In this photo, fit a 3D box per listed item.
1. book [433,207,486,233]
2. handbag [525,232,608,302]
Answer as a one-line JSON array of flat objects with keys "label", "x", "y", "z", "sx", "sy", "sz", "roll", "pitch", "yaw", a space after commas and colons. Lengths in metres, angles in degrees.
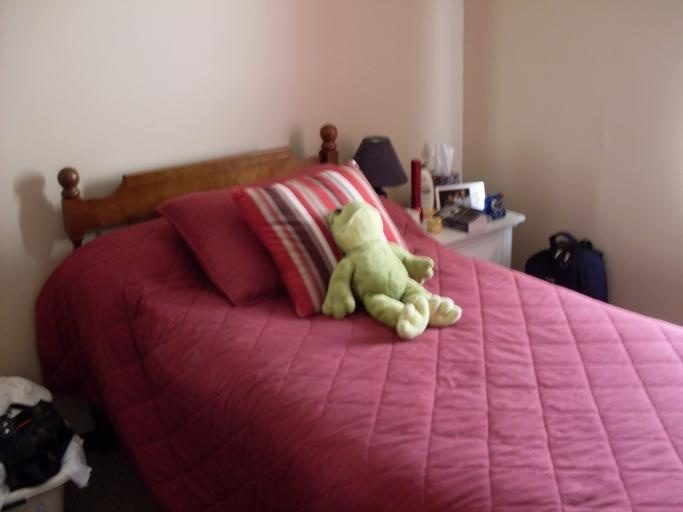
[{"label": "book", "x": 0.679, "y": -0.226, "z": 2.795, "sx": 0.150, "sy": 0.077, "sz": 0.211, "roll": -31, "pitch": 40, "yaw": -33}, {"label": "handbag", "x": 1.224, "y": 0.061, "z": 2.715, "sx": 0.263, "sy": 0.289, "sz": 0.145, "roll": 24, "pitch": 36, "yaw": 39}]
